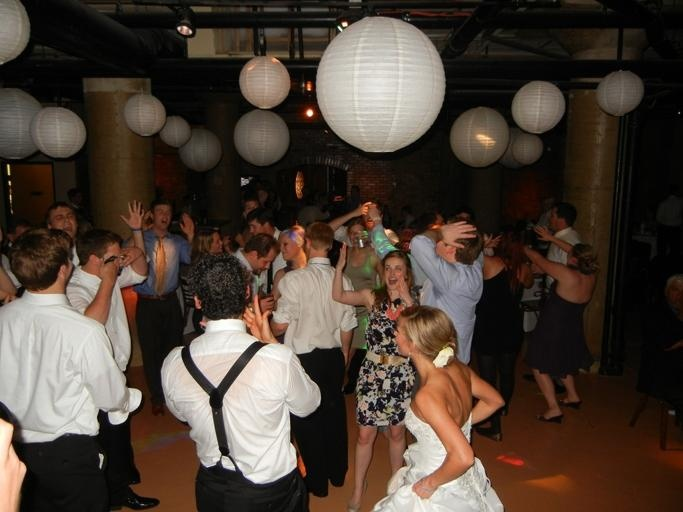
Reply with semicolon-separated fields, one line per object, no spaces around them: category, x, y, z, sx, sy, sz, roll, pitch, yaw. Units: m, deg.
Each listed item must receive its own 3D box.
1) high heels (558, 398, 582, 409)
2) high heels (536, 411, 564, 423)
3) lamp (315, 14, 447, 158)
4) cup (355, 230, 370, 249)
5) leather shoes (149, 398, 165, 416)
high heels;2.302;1.461;5.625;0.097;0.090;0.201;-5;6;-27
high heels;2.020;1.558;5.376;0.229;0.091;0.095;3;2;15
lamp;0.208;-0.975;3.311;0.656;0.786;0.699;1;-17;-2
cup;0.196;-0.137;5.101;0.122;0.142;0.128;0;10;0
leather shoes;-1.768;1.467;5.343;0.100;0.160;0.153;1;-9;-20
